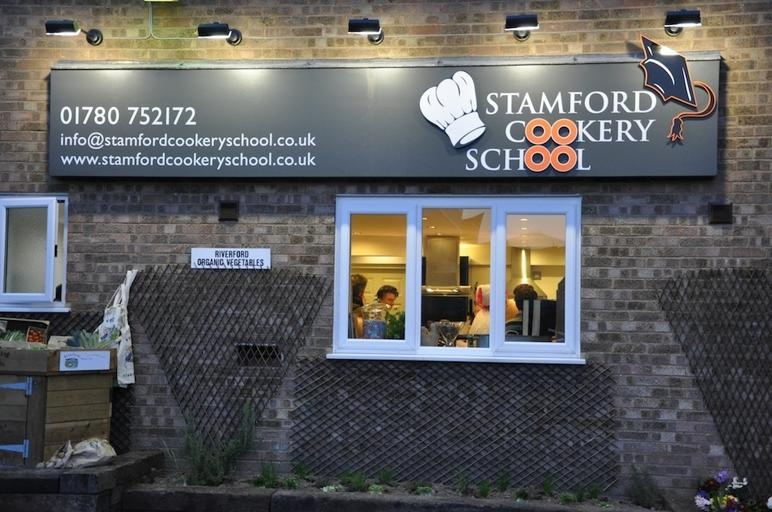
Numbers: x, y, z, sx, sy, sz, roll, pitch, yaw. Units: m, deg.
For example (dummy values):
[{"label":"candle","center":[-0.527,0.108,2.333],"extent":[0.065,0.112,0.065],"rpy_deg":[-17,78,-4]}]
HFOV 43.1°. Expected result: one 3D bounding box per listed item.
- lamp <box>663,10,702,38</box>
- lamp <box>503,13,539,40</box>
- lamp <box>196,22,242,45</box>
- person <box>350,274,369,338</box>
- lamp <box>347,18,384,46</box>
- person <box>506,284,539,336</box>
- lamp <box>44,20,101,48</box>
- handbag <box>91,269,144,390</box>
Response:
[{"label":"lamp","center":[3.841,-3.000,12.586],"extent":[0.402,0.138,0.382],"rpy_deg":[-1,-18,10]},{"label":"lamp","center":[1.778,-3.047,12.767],"extent":[0.449,0.371,0.508],"rpy_deg":[-1,-6,7]},{"label":"lamp","center":[-2.203,-2.960,13.017],"extent":[0.524,0.230,0.484],"rpy_deg":[0,-5,-3]},{"label":"person","center":[-0.351,0.676,13.063],"extent":[0.212,0.842,0.093],"rpy_deg":[0,-6,-2]},{"label":"lamp","center":[-0.259,-3.017,12.899],"extent":[0.441,0.361,0.485],"rpy_deg":[0,-5,4]},{"label":"person","center":[1.854,0.746,13.059],"extent":[0.532,0.719,0.375],"rpy_deg":[1,-2,5]},{"label":"lamp","center":[-4.156,-2.993,13.071],"extent":[0.639,0.259,0.555],"rpy_deg":[0,-5,-4]},{"label":"handbag","center":[-3.582,0.968,13.066],"extent":[0.503,1.580,0.204],"rpy_deg":[2,-7,-19]}]
